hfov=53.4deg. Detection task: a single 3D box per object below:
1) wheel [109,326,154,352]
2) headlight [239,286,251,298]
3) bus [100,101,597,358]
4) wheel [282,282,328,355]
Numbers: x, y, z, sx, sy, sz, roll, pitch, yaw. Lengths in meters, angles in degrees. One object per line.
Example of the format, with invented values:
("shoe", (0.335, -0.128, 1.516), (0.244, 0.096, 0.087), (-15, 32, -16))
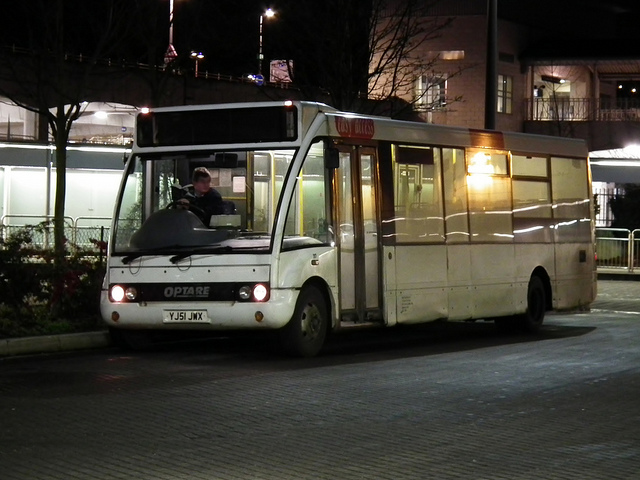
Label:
("wheel", (-2.918, 1.517, 9.821), (0.132, 0.428, 0.383), (2, 11, 37))
("headlight", (-1.045, 0.729, 8.835), (0.123, 0.135, 0.133), (-2, -3, 13))
("bus", (1.641, -0.138, 12.661), (9.338, 3.845, 3.300), (0, -2, -39))
("wheel", (-0.253, 1.124, 9.169), (0.284, 0.888, 0.775), (4, -20, 30))
